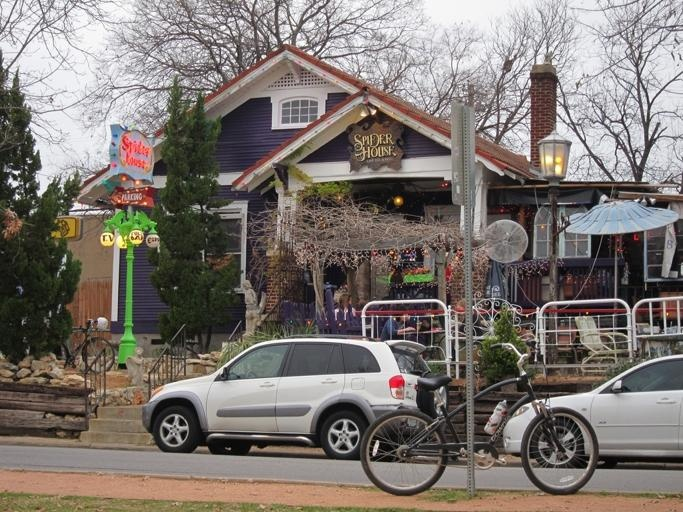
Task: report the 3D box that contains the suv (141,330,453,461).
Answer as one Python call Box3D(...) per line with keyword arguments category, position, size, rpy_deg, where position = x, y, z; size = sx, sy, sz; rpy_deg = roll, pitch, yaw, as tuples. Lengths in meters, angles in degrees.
Box3D(category="suv", position=(-0.969, 2.787, 28.984), size=(5.066, 2.196, 2.551), rpy_deg=(1, -6, 17))
